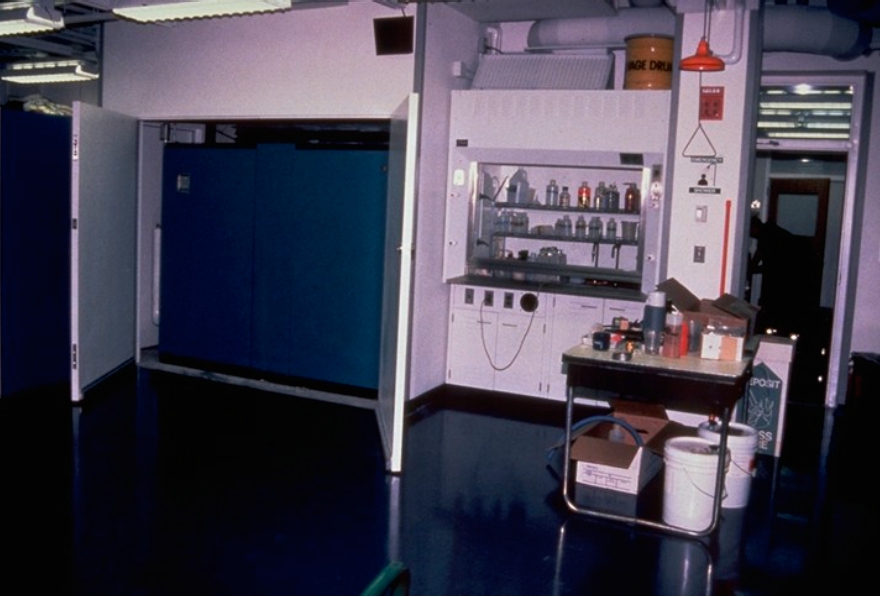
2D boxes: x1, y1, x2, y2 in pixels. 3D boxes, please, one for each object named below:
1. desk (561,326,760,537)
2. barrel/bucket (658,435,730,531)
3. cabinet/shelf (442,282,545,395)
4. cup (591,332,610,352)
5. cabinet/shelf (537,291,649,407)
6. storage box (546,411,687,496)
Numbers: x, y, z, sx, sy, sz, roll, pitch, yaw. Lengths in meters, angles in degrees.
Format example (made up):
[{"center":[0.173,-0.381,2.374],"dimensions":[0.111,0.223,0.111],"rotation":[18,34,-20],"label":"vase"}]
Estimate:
[{"center":[1.884,0.840,6.082],"dimensions":[1.298,1.419,1.689],"rotation":[5,7,24],"label":"desk"},{"center":[2.059,1.436,5.838],"dimensions":[0.549,0.745,0.547],"rotation":[0,3,0],"label":"barrel/bucket"},{"center":[0.618,0.397,7.822],"dimensions":[1.135,1.191,0.407],"rotation":[3,2,14],"label":"cabinet/shelf"},{"center":[1.294,0.352,5.859],"dimensions":[0.140,0.139,0.125],"rotation":[3,5,12],"label":"cup"},{"center":[1.431,0.410,6.718],"dimensions":[1.158,1.176,0.387],"rotation":[1,0,16],"label":"cabinet/shelf"},{"center":[1.614,1.313,6.273],"dimensions":[0.754,0.264,0.766],"rotation":[3,7,38],"label":"storage box"}]
